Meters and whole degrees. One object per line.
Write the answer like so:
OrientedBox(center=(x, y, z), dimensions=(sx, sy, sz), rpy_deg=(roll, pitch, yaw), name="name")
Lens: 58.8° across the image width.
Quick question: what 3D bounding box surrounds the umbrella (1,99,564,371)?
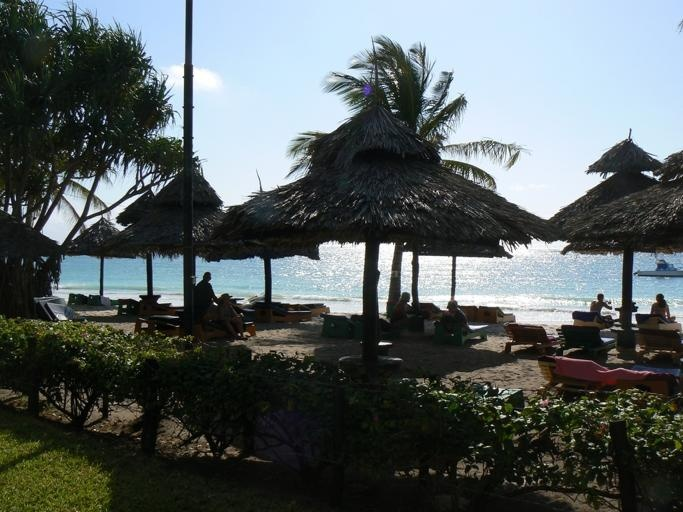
OrientedBox(center=(0.661, -0.436, 11.308), dimensions=(5.525, 4.994, 2.623), rpy_deg=(-2, 2, 15), name="umbrella")
